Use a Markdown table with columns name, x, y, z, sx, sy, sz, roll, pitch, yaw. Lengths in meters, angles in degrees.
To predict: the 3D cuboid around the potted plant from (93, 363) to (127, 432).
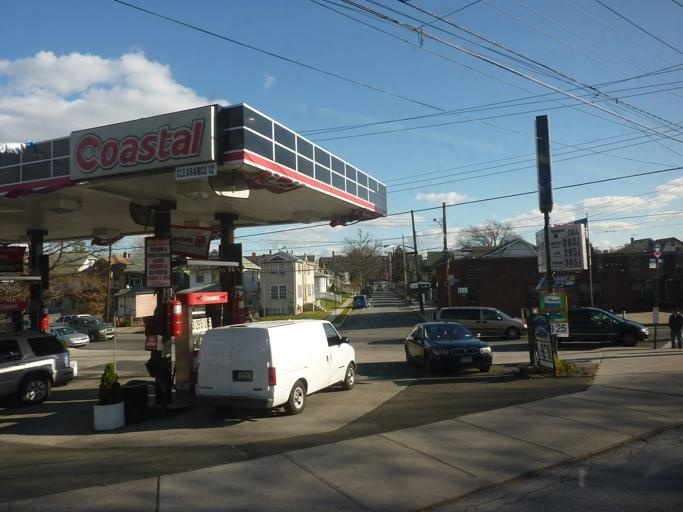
| name | x | y | z | sx | sy | sz | roll | pitch | yaw |
| --- | --- | --- | --- | --- | --- | --- | --- | --- | --- |
| potted plant | -5.546 | 3.407 | 15.885 | 0.715 | 1.612 | 0.519 | 0 | -4 | -18 |

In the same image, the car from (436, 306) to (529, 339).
| name | x | y | z | sx | sy | sz | roll | pitch | yaw |
| --- | --- | --- | --- | --- | --- | --- | --- | --- | --- |
| car | 6.781 | 3.211 | 32.517 | 4.164 | 1.308 | 1.884 | -1 | 0 | 3 |

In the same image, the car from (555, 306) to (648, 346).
| name | x | y | z | sx | sy | sz | roll | pitch | yaw |
| --- | --- | --- | --- | --- | --- | --- | --- | --- | --- |
| car | 10.824 | 2.965 | 27.827 | 3.383 | 1.177 | 1.577 | -2 | -2 | 14 |

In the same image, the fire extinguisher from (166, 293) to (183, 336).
| name | x | y | z | sx | sy | sz | roll | pitch | yaw |
| --- | --- | --- | --- | --- | --- | --- | --- | --- | --- |
| fire extinguisher | -4.374 | 1.617 | 17.351 | 0.373 | 1.019 | 0.340 | -2 | -3 | 11 |

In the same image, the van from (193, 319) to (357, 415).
| name | x | y | z | sx | sy | sz | roll | pitch | yaw |
| --- | --- | --- | --- | --- | --- | --- | --- | --- | --- |
| van | -1.471 | 2.710 | 17.123 | 2.016 | 1.326 | 3.666 | -2 | 0 | 33 |
